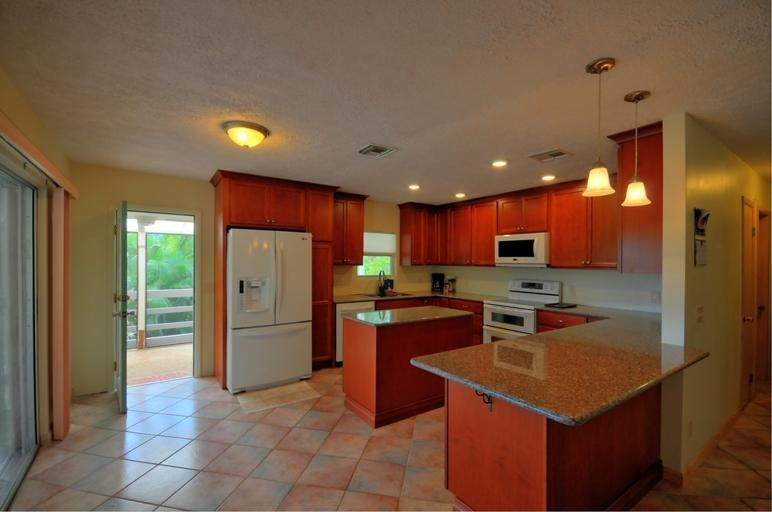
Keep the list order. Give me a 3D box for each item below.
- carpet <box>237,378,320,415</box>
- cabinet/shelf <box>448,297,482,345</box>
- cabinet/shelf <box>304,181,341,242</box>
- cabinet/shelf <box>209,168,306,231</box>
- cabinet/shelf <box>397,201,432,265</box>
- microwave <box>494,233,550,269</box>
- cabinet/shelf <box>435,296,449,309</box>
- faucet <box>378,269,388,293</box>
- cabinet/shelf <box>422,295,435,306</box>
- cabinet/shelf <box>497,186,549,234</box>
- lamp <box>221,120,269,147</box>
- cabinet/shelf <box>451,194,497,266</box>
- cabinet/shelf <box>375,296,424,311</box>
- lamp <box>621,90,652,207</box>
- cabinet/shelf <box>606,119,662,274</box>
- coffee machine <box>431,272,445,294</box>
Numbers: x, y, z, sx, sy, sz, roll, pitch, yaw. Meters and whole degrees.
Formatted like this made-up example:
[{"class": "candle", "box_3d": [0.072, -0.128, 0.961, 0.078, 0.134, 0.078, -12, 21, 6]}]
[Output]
[{"class": "carpet", "box_3d": [-1.223, 1.590, 5.993, 0.879, 0.103, 0.574, -3, 1, -28]}, {"class": "cabinet/shelf", "box_3d": [1.129, 0.889, 7.344, 0.147, 0.564, 0.625, -3, 1, -24]}, {"class": "cabinet/shelf", "box_3d": [-0.843, -0.522, 6.770, 0.390, 0.717, 0.132, -4, 1, -42]}, {"class": "cabinet/shelf", "box_3d": [-1.416, -0.667, 6.518, 1.118, 0.678, 0.409, 4, 17, -11]}, {"class": "cabinet/shelf", "box_3d": [0.507, -0.321, 8.246, 0.504, 0.973, 0.311, 2, -3, -30]}, {"class": "microwave", "box_3d": [1.818, -0.059, 7.041, 0.681, 0.423, 0.439, -1, 0, 34]}, {"class": "cabinet/shelf", "box_3d": [0.810, 0.672, 7.732, 0.133, 0.236, 0.163, 3, -4, -34]}, {"class": "faucet", "box_3d": [-0.050, 0.398, 7.861, 0.135, 0.339, 0.450, -3, 1, -1]}, {"class": "cabinet/shelf", "box_3d": [0.628, 0.652, 7.740, 0.105, 0.122, 0.204, -3, 1, 34]}, {"class": "cabinet/shelf", "box_3d": [1.873, -0.543, 7.062, 0.719, 0.587, 0.348, -4, -7, 40]}, {"class": "lamp", "box_3d": [-1.296, -1.129, 4.940, 0.440, 0.238, 0.312, -3, 1, -15]}, {"class": "cabinet/shelf", "box_3d": [1.279, -0.372, 7.580, 0.414, 0.887, 0.966, -1, 2, -31]}, {"class": "cabinet/shelf", "box_3d": [0.210, 0.649, 7.376, 0.860, 0.159, 0.120, -3, 1, -39]}, {"class": "lamp", "box_3d": [2.169, -0.893, 4.596, 0.257, 0.782, 0.611, -3, 1, 27]}, {"class": "cabinet/shelf", "box_3d": [2.378, -0.521, 4.937, 0.466, 1.506, 0.504, -32, 31, -33]}, {"class": "coffee machine", "box_3d": [0.827, 0.427, 8.440, 0.265, 0.361, 0.257, 0, -6, -1]}]
